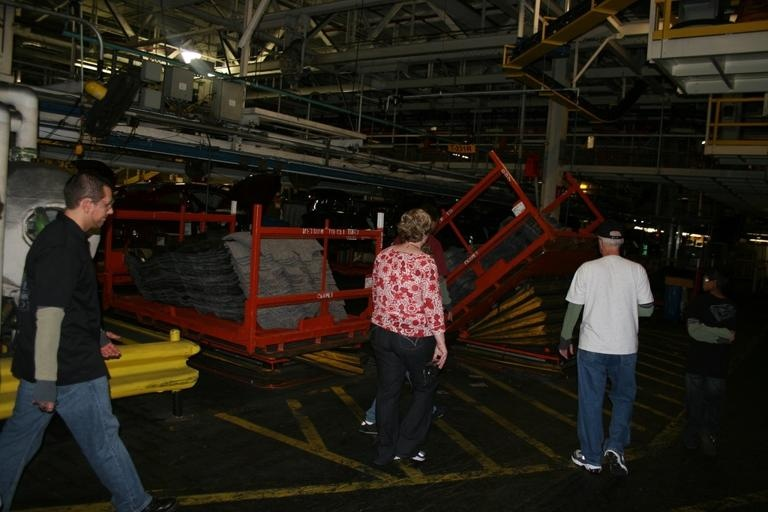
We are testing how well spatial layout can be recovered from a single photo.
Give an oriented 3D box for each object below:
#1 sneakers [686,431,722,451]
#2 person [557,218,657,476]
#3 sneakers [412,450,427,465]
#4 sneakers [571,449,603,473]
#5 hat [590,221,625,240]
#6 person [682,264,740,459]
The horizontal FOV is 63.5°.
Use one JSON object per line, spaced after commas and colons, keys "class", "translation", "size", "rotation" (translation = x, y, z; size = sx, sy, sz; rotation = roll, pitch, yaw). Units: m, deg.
{"class": "sneakers", "translation": [4.155, 2.507, 8.431], "size": [0.241, 0.235, 0.637], "rotation": [19, -19, -23]}
{"class": "person", "translation": [2.698, 1.123, 7.638], "size": [1.005, 3.077, 0.547], "rotation": [4, 7, 17]}
{"class": "sneakers", "translation": [0.442, 2.498, 7.706], "size": [0.094, 0.096, 0.240], "rotation": [44, 16, 25]}
{"class": "sneakers", "translation": [2.487, 2.561, 7.762], "size": [0.187, 0.151, 0.404], "rotation": [-8, 7, -37]}
{"class": "hat", "translation": [2.765, -0.318, 7.719], "size": [0.266, 0.148, 0.306], "rotation": [1, 13, -15]}
{"class": "person", "translation": [4.236, 1.397, 8.171], "size": [0.560, 2.427, 0.311], "rotation": [5, 8, 24]}
